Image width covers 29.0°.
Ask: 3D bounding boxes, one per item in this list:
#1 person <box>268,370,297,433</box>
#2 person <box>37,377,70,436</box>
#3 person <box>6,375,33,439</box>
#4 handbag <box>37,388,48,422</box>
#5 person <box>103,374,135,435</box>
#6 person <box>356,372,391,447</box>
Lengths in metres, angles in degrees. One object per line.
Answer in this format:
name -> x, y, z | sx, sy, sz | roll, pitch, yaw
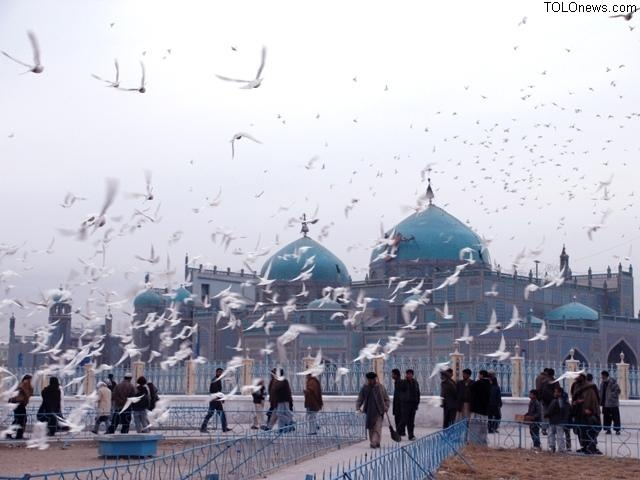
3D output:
person -> -0.868, 3.582, 27.438 | 0.505, 1.260, 0.424 | -10, -8, 43
person -> -6.120, 3.734, 28.053 | 0.642, 1.296, 0.610 | 2, -3, 3
person -> -6.537, 3.547, 27.525 | 0.577, 1.494, 0.490 | 10, 12, 23
handbag -> -6.254, 3.680, 27.831 | 0.212, 0.798, 0.978 | 2, -15, -13
person -> -4.469, 3.668, 27.586 | 0.652, 1.462, 0.546 | 0, -7, 2
person -> 1.080, 3.486, 25.782 | 0.746, 1.475, 0.594 | -1, 2, -2
